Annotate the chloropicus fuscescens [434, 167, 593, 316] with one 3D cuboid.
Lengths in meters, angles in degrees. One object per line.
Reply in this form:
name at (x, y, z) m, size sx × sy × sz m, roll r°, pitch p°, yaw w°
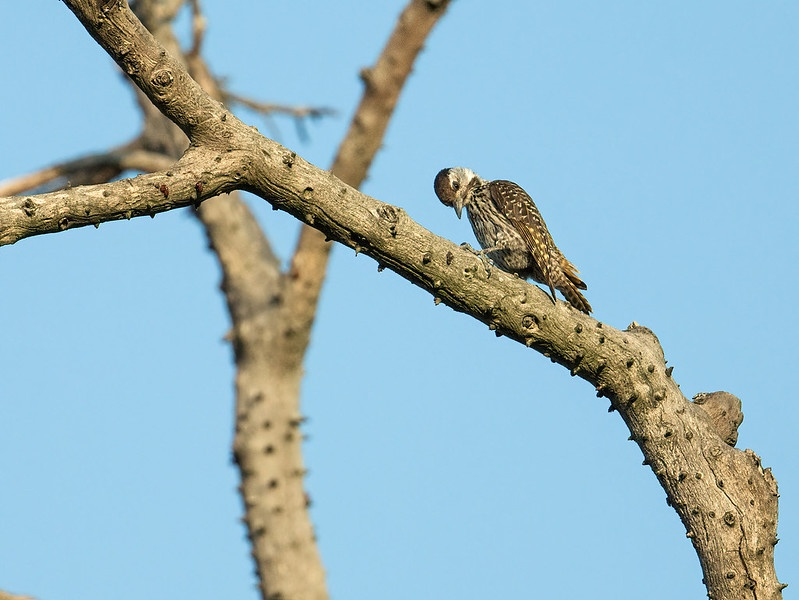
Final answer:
chloropicus fuscescens at (0.853, -0.520, 14.285) m, size 1.029 × 0.783 × 1.387 m, roll -2°, pitch -94°, yaw -35°
